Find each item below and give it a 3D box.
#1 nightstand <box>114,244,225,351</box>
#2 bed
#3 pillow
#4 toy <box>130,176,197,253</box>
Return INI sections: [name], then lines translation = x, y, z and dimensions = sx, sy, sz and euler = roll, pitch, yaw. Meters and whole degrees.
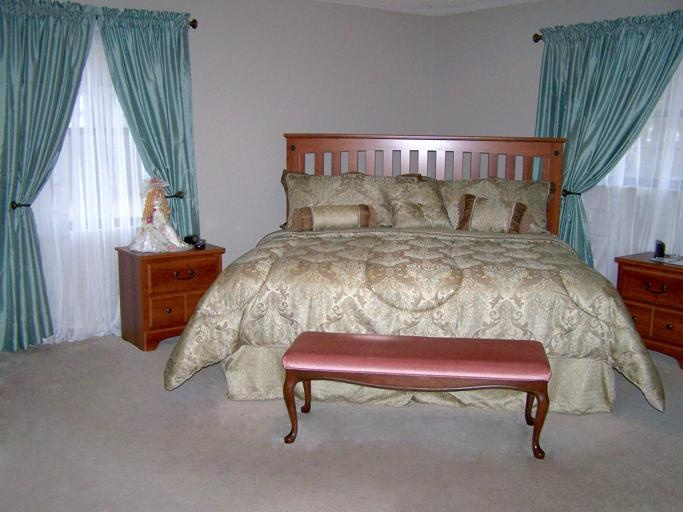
[nightstand]
translation = -1.322, 0.289, 4.030
dimensions = 0.468, 0.691, 0.702
euler = 7, 10, 42
[bed]
translation = 0.710, -0.064, 4.957
dimensions = 2.657, 2.606, 1.004
euler = 1, 2, 2
[pillow]
translation = 0.582, -0.422, 3.985
dimensions = 2.101, 0.396, 0.535
euler = 1, 14, 2
[toy]
translation = -1.393, -0.329, 4.052
dimensions = 0.542, 0.564, 0.529
euler = -1, 6, -12
